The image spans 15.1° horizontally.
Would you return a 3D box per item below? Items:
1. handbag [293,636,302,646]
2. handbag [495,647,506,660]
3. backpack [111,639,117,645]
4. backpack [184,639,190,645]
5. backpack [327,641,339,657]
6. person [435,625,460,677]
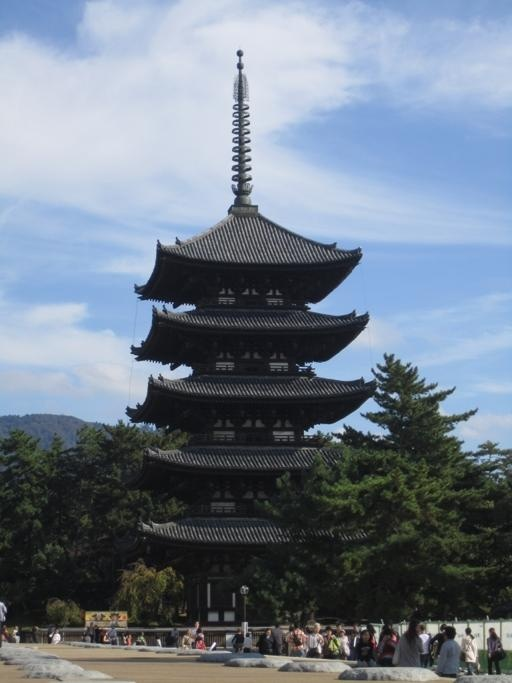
[{"bbox_3d":[1.964,11.957,76.547,0.320,0.228,0.440,-1,26,-2],"label":"handbag"},{"bbox_3d":[9.837,12.082,74.145,0.269,0.385,0.531,-4,-12,27],"label":"handbag"},{"bbox_3d":[-6.413,14.097,90.156,0.253,0.187,0.346,-1,10,-2],"label":"backpack"},{"bbox_3d":[-2.717,13.088,83.254,0.222,0.207,0.228,-12,-21,3],"label":"backpack"},{"bbox_3d":[3.357,12.045,75.496,0.407,0.747,0.536,2,-11,-1],"label":"backpack"},{"bbox_3d":[6.458,9.933,61.652,0.741,1.602,1.135,0,-11,5],"label":"person"}]
